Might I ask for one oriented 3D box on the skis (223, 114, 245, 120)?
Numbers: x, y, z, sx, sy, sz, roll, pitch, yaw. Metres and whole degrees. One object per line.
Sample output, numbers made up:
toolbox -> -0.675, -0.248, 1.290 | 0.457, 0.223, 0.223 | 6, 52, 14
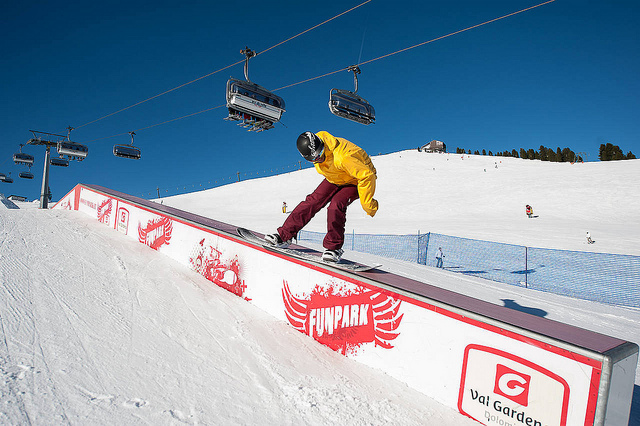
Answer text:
skis -> -2.033, -2.218, 10.190 | 0.253, 0.140, 0.146 | 3, 6, -42

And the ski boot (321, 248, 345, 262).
ski boot -> 0.166, 0.623, 6.359 | 0.408, 0.172, 0.136 | 3, 3, -4

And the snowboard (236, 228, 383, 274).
snowboard -> -0.056, 0.770, 8.964 | 2.896, 0.147, 0.426 | 21, 17, 28

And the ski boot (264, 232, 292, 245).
ski boot -> -0.621, 0.408, 6.701 | 0.436, 0.199, 0.161 | 13, -10, 0
